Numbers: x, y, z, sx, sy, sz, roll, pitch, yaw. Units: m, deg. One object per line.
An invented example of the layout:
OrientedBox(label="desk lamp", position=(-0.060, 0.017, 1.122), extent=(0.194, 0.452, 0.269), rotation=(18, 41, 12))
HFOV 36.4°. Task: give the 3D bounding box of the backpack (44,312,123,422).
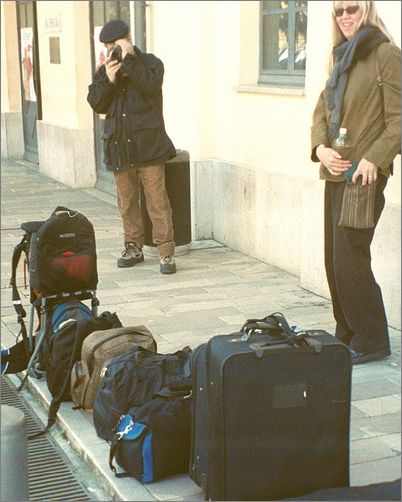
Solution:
OrientedBox(label="backpack", position=(-0.675, 0.582, 3.150), extent=(0.377, 0.489, 0.511), rotation=(8, -9, -14))

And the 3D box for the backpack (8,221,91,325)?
OrientedBox(label="backpack", position=(-0.854, 0.095, 3.597), extent=(0.503, 0.616, 0.500), rotation=(2, 8, 29))

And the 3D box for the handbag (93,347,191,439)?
OrientedBox(label="handbag", position=(-0.285, 0.642, 2.733), extent=(0.392, 0.385, 0.343), rotation=(7, 4, -10))

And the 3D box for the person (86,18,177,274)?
OrientedBox(label="person", position=(-0.605, -0.954, 5.778), extent=(0.764, 2.341, 0.552), rotation=(9, 16, 39))

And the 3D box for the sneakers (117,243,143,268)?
OrientedBox(label="sneakers", position=(-0.704, 0.058, 6.157), extent=(0.130, 0.226, 0.368), rotation=(2, 5, 37))

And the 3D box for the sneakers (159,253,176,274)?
OrientedBox(label="sneakers", position=(-0.326, 0.124, 5.880), extent=(0.181, 0.198, 0.516), rotation=(-1, 3, -3))

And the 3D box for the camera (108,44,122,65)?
OrientedBox(label="camera", position=(-0.752, -1.750, 5.405), extent=(0.102, 0.141, 0.069), rotation=(-2, 12, -6))

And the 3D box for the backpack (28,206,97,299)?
OrientedBox(label="backpack", position=(-0.757, 0.024, 3.436), extent=(0.148, 0.462, 0.378), rotation=(10, 16, 42))

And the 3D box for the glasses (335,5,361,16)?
OrientedBox(label="glasses", position=(0.791, -1.313, 3.346), extent=(0.045, 0.046, 0.156), rotation=(-11, 16, -41))

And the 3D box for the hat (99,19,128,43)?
OrientedBox(label="hat", position=(-0.790, -1.990, 5.521), extent=(0.256, 0.233, 0.227), rotation=(0, 12, 5))

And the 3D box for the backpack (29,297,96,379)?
OrientedBox(label="backpack", position=(-0.763, 0.406, 3.430), extent=(0.463, 0.437, 0.321), rotation=(4, 7, -6))

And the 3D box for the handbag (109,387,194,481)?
OrientedBox(label="handbag", position=(-0.200, 0.708, 2.466), extent=(0.390, 0.336, 0.326), rotation=(0, 3, -37))

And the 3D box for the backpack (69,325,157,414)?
OrientedBox(label="backpack", position=(-0.434, 0.594, 3.092), extent=(0.457, 0.428, 0.334), rotation=(2, 8, -19))
